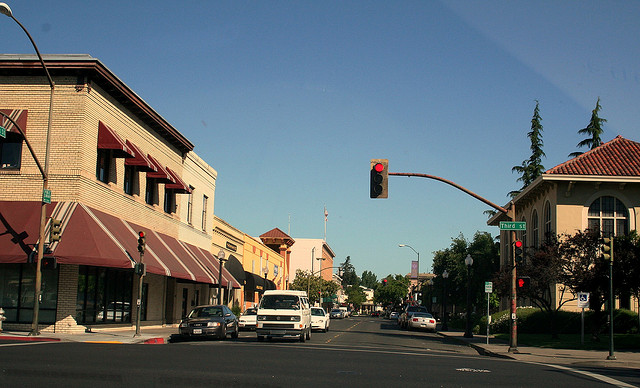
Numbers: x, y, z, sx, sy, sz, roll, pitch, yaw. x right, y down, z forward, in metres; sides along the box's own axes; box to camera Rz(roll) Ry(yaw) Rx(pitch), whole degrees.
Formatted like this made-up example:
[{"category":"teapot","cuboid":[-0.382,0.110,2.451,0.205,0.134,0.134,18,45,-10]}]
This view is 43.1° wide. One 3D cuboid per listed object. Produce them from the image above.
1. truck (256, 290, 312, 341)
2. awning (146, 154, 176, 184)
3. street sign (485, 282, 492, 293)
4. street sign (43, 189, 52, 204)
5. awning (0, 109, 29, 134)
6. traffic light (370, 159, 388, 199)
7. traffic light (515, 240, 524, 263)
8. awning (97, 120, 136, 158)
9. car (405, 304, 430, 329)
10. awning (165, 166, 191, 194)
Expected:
[{"category":"truck","cuboid":[-2.524,7.883,53.192,3.250,3.291,1.435,4,-17,-11]},{"category":"awning","cuboid":[-12.655,-1.821,63.980,1.352,1.848,5.161,0,-3,-10]},{"category":"street sign","cuboid":[12.289,6.825,59.379,0.473,0.977,2.082,-3,-18,11]},{"category":"street sign","cuboid":[-17.364,0.153,51.597,0.338,0.846,0.667,3,-17,-8]},{"category":"awning","cuboid":[-20.310,-4.974,54.139,1.822,1.793,0.449,8,-4,9]},{"category":"traffic light","cuboid":[3.470,-0.873,48.116,0.956,2.201,0.466,-2,-17,9]},{"category":"traffic light","cuboid":[12.862,3.751,52.881,0.476,1.529,1.000,-3,-17,13]},{"category":"awning","cuboid":[-14.585,-3.816,58.311,1.689,2.086,4.871,-1,-6,-4]},{"category":"car","cuboid":[9.042,11.613,76.358,2.062,1.825,4.256,0,-6,2]},{"category":"awning","cuboid":[-11.280,-0.988,64.524,1.691,1.633,3.848,2,-3,5]}]
